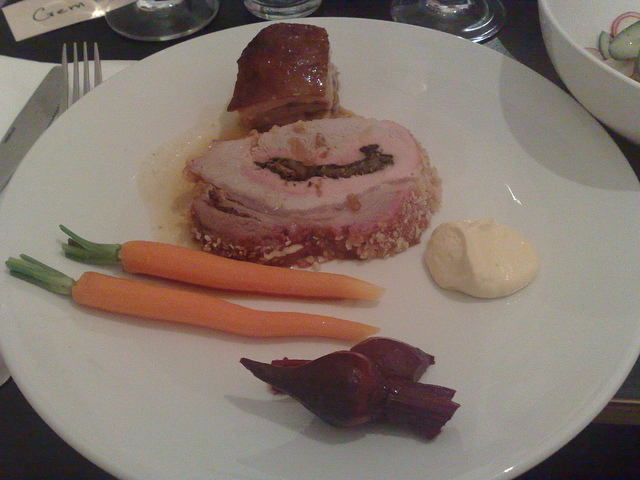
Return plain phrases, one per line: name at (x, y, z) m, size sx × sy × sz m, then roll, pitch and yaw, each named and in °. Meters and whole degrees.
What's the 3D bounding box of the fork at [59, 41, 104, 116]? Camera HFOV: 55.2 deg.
fork at (-0.831, -0.548, 2.118) m, size 0.049 × 0.051 × 0.347 m, roll 3°, pitch 78°, yaw -5°
